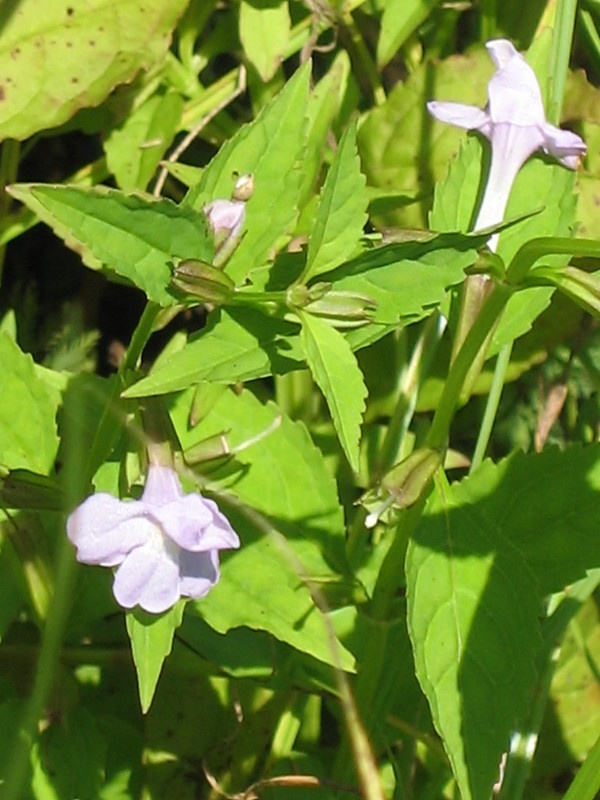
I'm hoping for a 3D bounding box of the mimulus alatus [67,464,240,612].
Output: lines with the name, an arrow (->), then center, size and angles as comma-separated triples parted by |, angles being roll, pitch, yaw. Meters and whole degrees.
mimulus alatus -> -0.095, 0.104, 0.543 | 0.082, 0.092, 0.076 | -23, 33, -33
